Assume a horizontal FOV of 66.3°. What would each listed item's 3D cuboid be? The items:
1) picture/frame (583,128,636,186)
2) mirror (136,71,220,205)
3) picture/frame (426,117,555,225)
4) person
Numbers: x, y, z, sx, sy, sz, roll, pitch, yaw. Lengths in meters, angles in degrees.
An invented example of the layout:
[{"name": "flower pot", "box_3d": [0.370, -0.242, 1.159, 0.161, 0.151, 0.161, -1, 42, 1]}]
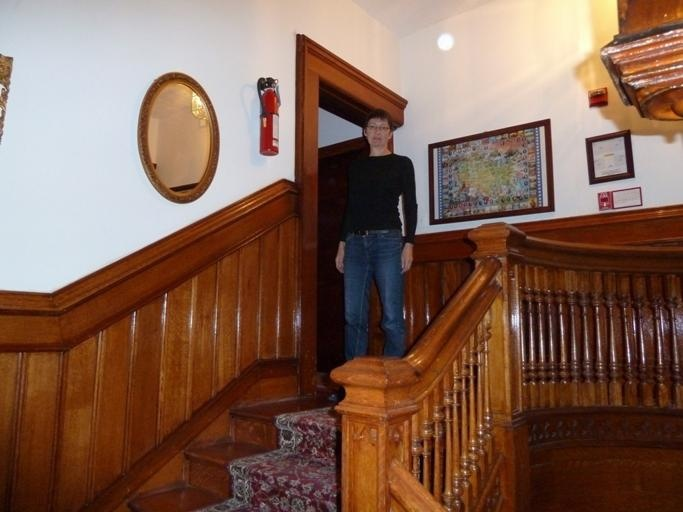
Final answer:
[{"name": "picture/frame", "box_3d": [2.127, -0.761, 4.123, 0.379, 0.523, 0.051, -10, -16, 33]}, {"name": "mirror", "box_3d": [-1.045, -0.719, 3.280, 0.058, 0.935, 0.715, -1, 10, 30]}, {"name": "picture/frame", "box_3d": [1.353, -0.721, 4.608, 0.928, 0.713, 0.023, -6, -12, 35]}, {"name": "person", "box_3d": [0.223, -0.136, 3.492, 0.552, 1.487, 0.320, -2, -1, 8]}]
